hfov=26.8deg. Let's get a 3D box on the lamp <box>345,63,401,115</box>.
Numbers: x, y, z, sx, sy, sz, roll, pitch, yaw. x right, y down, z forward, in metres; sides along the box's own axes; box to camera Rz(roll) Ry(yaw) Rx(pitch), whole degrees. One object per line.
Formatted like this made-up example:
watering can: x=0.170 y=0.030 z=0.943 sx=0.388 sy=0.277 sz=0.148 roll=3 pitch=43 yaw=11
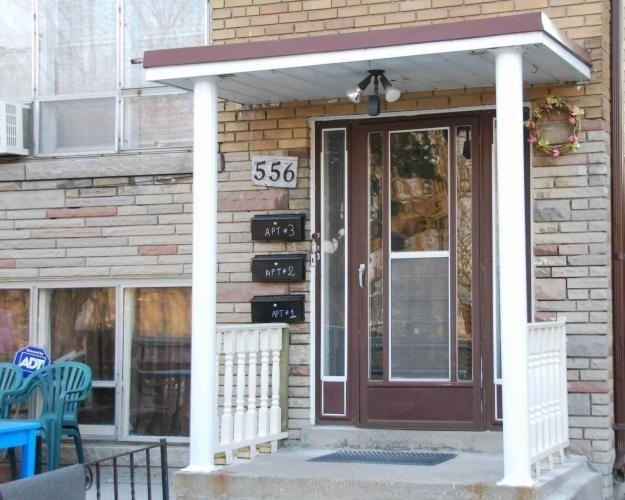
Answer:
lamp: x=0.502 y=-1.243 z=10.427 sx=0.467 sy=0.355 sz=0.158 roll=3 pitch=4 yaw=14
